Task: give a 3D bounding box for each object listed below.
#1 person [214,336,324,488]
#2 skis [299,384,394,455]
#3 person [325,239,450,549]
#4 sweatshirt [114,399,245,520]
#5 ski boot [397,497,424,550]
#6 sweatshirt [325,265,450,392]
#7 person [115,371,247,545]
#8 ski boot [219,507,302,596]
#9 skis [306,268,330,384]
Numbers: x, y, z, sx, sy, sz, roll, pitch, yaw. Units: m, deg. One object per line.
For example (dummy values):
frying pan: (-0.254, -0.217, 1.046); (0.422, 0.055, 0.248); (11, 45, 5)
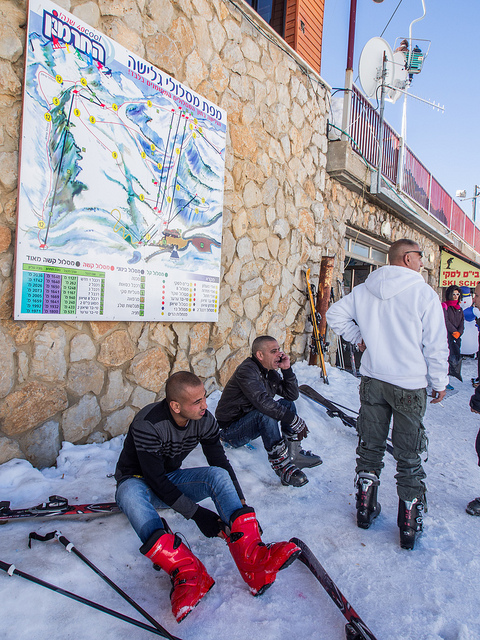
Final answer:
person: (0.205, 0.717, 3.511); (0.789, 1.140, 0.564); (-1, 2, 25)
skis: (0.969, 0.963, 4.673); (0.226, 0.176, 2.070); (7, 4, 2)
person: (0.958, 0.400, 2.854); (0.749, 1.906, 0.719); (6, 5, 26)
sweatshirt: (-0.307, 0.794, 2.474); (0.748, 0.646, 0.544); (-1, -4, 0)
ski boot: (1.032, 1.211, 2.562); (0.175, 0.271, 0.175); (4, 4, 0)
sweatshirt: (0.993, 0.030, 2.869); (0.273, 0.802, 0.773); (0, 6, -43)
person: (-0.344, 0.728, 2.303); (0.600, 0.814, 0.889); (3, -3, -32)
ski boot: (0.090, 1.195, 2.170); (0.440, 0.252, 0.593); (7, 12, 10)
skis: (1.089, 0.105, 6.177); (0.274, 1.696, 0.273); (-12, 9, -33)
